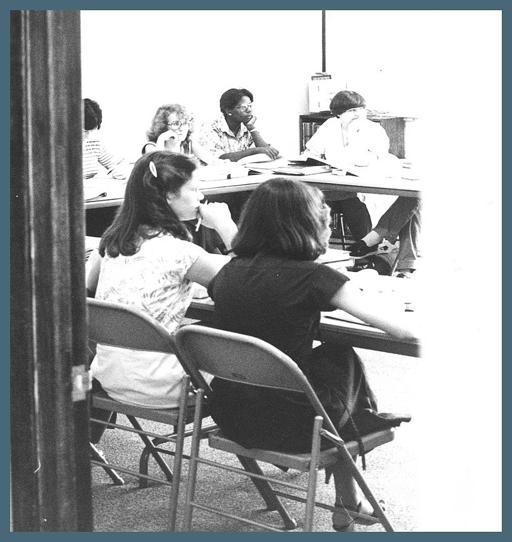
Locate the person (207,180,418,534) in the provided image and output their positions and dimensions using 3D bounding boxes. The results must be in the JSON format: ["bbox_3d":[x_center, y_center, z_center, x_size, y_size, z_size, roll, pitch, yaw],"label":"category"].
[{"bbox_3d":[0.139,0.278,1.846,0.526,1.017,0.360,3,9,-4],"label":"person"}]
